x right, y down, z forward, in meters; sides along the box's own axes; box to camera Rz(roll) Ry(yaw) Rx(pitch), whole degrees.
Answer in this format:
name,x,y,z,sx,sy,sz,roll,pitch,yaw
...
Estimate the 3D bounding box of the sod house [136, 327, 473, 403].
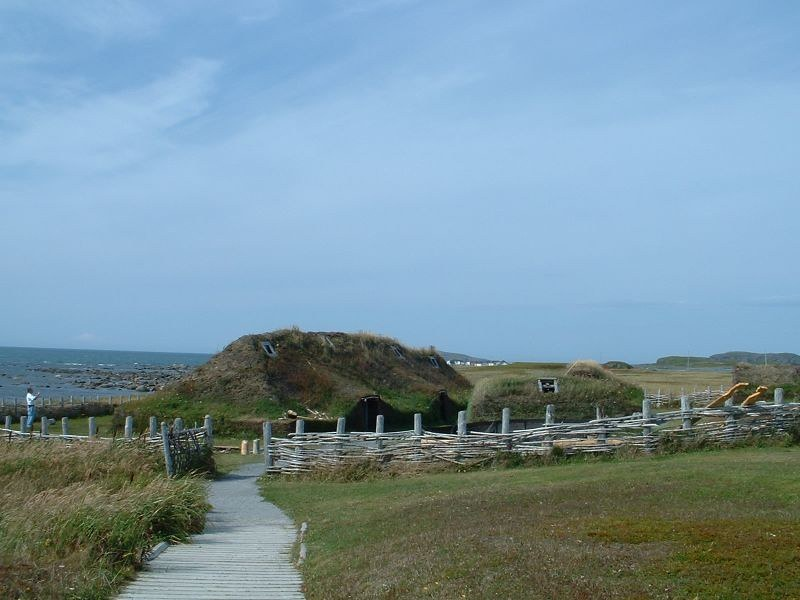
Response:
name,x,y,z,sx,sy,sz,roll,pitch,yaw
sod house,-2.760,3.612,68.455,10.414,4.533,29.983,0,2,13
